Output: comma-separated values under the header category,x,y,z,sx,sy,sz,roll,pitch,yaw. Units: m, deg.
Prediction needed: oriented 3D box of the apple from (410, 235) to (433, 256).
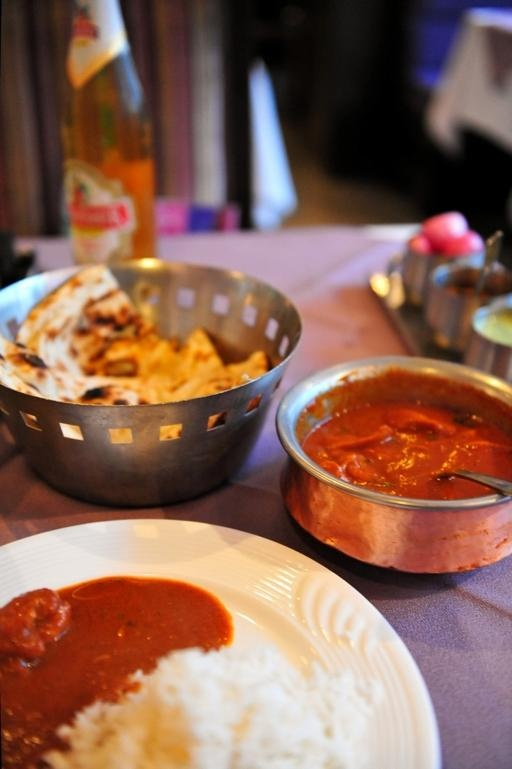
category,x,y,z,sx,sy,sz,roll,pitch,yaw
apple,0.231,-0.194,0.913,0.027,0.019,0.033,-6,44,-3

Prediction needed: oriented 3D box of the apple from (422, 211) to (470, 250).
category,x,y,z,sx,sy,sz,roll,pitch,yaw
apple,0.231,-0.192,0.811,0.056,0.039,0.056,14,16,38

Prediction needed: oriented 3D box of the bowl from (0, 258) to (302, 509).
category,x,y,z,sx,sy,sz,roll,pitch,yaw
bowl,-0.103,-0.003,0.650,0.288,0.162,0.313,2,26,-1
